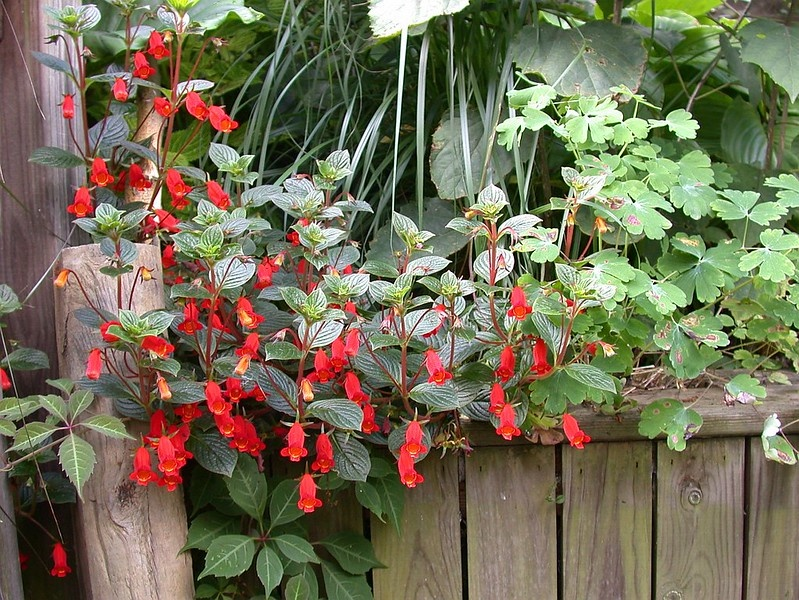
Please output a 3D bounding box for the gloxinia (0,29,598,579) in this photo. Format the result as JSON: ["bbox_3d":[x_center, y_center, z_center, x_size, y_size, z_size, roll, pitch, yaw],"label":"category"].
[{"bbox_3d":[-0.333,0.202,3.384,1.594,1.741,1.277,3,-26,-12],"label":"gloxinia"}]
